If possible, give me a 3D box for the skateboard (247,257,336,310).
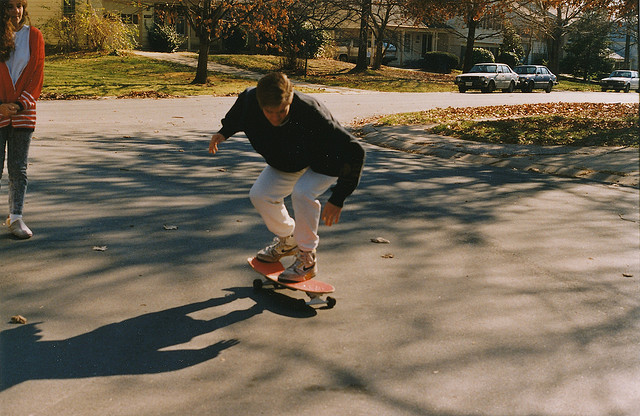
[{"bbox_3d":[-0.357,0.729,5.333,0.517,0.266,0.991,-8,17,-38],"label":"skateboard"}]

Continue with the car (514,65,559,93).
[{"bbox_3d":[14.405,-8.613,36.811,1.663,1.792,3.743,16,19,39],"label":"car"}]

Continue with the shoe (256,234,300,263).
[{"bbox_3d":[-0.444,0.402,5.661,0.521,0.227,0.173,-10,26,-36],"label":"shoe"}]

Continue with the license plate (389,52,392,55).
[{"bbox_3d":[7.043,-15.476,55.241,0.286,0.053,0.228,-1,46,-12],"label":"license plate"}]

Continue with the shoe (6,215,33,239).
[{"bbox_3d":[-3.367,0.205,6.138,0.386,0.128,0.149,24,32,27],"label":"shoe"}]

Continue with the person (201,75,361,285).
[{"bbox_3d":[-0.280,-0.250,5.267,1.014,1.973,0.819,-1,17,-18],"label":"person"}]

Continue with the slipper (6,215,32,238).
[{"bbox_3d":[-3.338,0.196,6.114,0.379,0.127,0.145,24,34,24],"label":"slipper"}]

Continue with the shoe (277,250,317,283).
[{"bbox_3d":[-0.219,0.549,5.377,0.222,0.290,0.587,9,11,35],"label":"shoe"}]

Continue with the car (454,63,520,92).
[{"bbox_3d":[10.308,-7.955,33.853,4.008,1.798,1.643,-10,20,-43],"label":"car"}]

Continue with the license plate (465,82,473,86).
[{"bbox_3d":[8.852,-7.371,32.677,0.329,0.154,0.039,0,-2,18],"label":"license plate"}]
